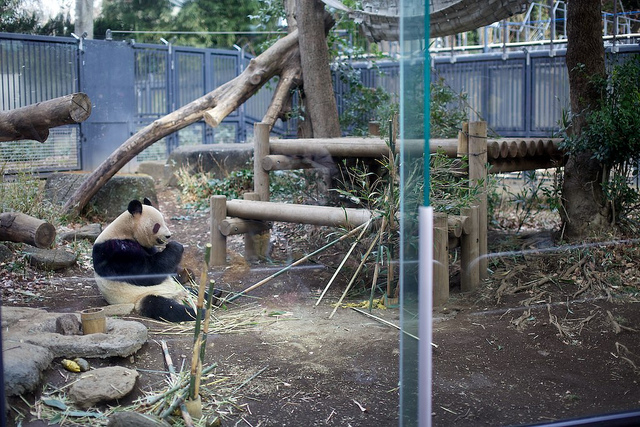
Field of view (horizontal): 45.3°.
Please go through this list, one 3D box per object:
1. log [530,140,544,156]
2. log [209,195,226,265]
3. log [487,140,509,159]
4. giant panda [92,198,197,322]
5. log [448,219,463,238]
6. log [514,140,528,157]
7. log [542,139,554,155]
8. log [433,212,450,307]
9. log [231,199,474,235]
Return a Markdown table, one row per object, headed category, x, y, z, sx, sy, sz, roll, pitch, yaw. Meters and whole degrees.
| category | x | y | z | sx | sy | sz | roll | pitch | yaw |
| --- | --- | --- | --- | --- | --- | --- | --- | --- | --- |
| log | 2.470 | -0.739 | 8.732 | 0.128 | 0.255 | 0.246 | 0 | 3 | 18 |
| log | -1.185 | 0.181 | 8.952 | 0.196 | 0.792 | 0.204 | -1 | 6 | -9 |
| log | 1.899 | -0.688 | 8.172 | 0.214 | 0.222 | 0.168 | -2 | 0 | -20 |
| giant panda | -1.761 | 0.483 | 7.857 | 1.215 | 1.402 | 0.851 | 1 | -1 | -11 |
| log | 1.341 | 0.127 | 7.615 | 0.148 | 0.153 | 0.159 | -7 | 11 | -30 |
| log | 2.209 | -0.725 | 8.380 | 0.184 | 0.207 | 0.147 | -2 | 3 | -43 |
| log | 2.629 | -0.773 | 8.840 | 0.135 | 0.199 | 0.174 | -1 | 0 | 16 |
| log | 1.168 | 0.455 | 7.328 | 0.158 | 0.913 | 0.679 | 0 | 6 | 9 |
| log | 0.239 | 0.019 | 8.358 | 2.857 | 0.250 | 0.574 | 4 | 8 | 34 |
